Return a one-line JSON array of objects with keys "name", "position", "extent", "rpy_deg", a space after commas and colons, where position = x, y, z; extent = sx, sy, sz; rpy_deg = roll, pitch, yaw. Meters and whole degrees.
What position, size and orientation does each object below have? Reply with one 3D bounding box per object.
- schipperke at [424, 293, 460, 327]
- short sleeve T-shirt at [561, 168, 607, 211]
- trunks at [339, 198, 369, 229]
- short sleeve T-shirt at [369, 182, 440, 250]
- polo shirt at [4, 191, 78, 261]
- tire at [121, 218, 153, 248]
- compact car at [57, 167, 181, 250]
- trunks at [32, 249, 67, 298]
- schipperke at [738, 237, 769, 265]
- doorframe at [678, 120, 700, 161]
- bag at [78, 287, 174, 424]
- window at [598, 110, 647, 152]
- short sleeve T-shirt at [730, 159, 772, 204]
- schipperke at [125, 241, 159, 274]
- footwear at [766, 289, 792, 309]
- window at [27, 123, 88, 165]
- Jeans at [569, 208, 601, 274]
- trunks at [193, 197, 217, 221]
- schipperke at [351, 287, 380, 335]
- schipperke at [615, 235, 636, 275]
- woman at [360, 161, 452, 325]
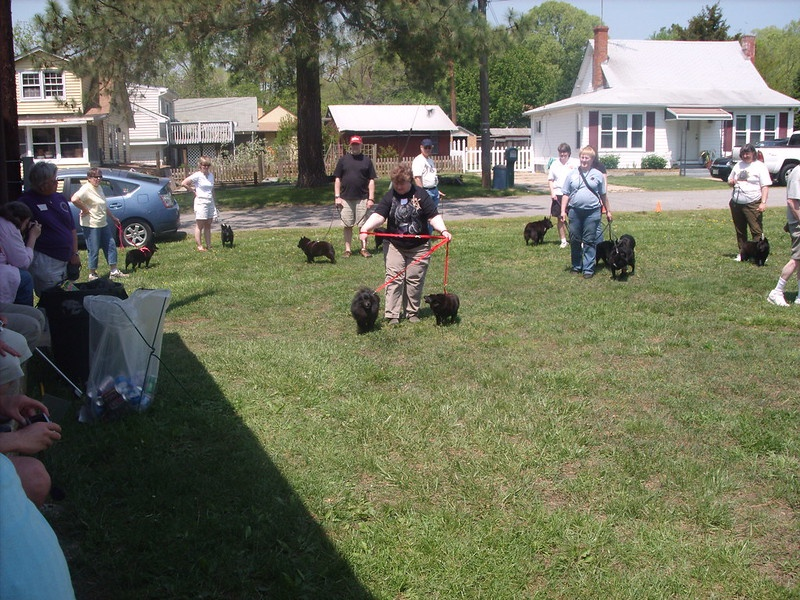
[{"name": "schipperke", "position": [0.562, 0.122, 9.719], "extent": [0.259, 0.401, 0.512], "rpy_deg": [0, 1, 44]}, {"name": "short sleeve T-shirt", "position": [2.842, -1.715, 11.947], "extent": [0.622, 0.752, 0.404], "rpy_deg": [3, -1, 18]}, {"name": "trunks", "position": [-0.862, -1.580, 14.096], "extent": [0.497, 0.808, 0.409], "rpy_deg": [1, 9, -8]}, {"name": "short sleeve T-shirt", "position": [0.102, -1.091, 9.844], "extent": [1.032, 1.266, 0.639], "rpy_deg": [-1, 8, 1]}, {"name": "polo shirt", "position": [-4.197, -0.878, 9.288], "extent": [0.426, 0.935, 0.756], "rpy_deg": [-6, 1, 40]}, {"name": "tire", "position": [-5.633, -1.419, 16.418], "extent": [0.583, 0.675, 0.210], "rpy_deg": [-13, 10, -34]}, {"name": "compact car", "position": [-6.119, -2.067, 16.915], "extent": [2.712, 1.470, 1.671], "rpy_deg": [3, 9, -16]}, {"name": "trunks", "position": [-4.053, -0.315, 8.891], "extent": [0.308, 0.625, 0.400], "rpy_deg": [6, 12, 25]}, {"name": "schipperke", "position": [5.791, -0.783, 12.603], "extent": [0.246, 0.561, 0.630], "rpy_deg": [-8, 7, -17]}, {"name": "doorframe", "position": [14.943, -8.126, 39.942], "extent": [1.470, 2.147, 0.517], "rpy_deg": [-12, 16, -40]}, {"name": "bag", "position": [-2.561, 0.443, 7.605], "extent": [0.953, 1.642, 1.026], "rpy_deg": [2, 4, -31]}, {"name": "window", "position": [11.020, -8.501, 38.691], "extent": [1.682, 1.489, 0.090], "rpy_deg": [-3, 14, -8]}, {"name": "short sleeve T-shirt", "position": [5.597, -1.899, 12.470], "extent": [0.381, 0.731, 0.667], "rpy_deg": [-1, 6, -31]}, {"name": "schipperke", "position": [-4.614, -0.773, 13.812], "extent": [0.273, 0.691, 0.771], "rpy_deg": [14, 17, 36]}, {"name": "footwear", "position": [5.078, -0.006, 10.359], "extent": [0.127, 0.169, 0.336], "rpy_deg": [-7, 16, -9]}, {"name": "window", "position": [-16.133, -7.259, 36.526], "extent": [2.734, 1.750, 0.914], "rpy_deg": [0, 13, 5]}, {"name": "Jeans", "position": [2.897, -0.969, 12.208], "extent": [0.511, 1.164, 0.391], "rpy_deg": [7, 15, 34]}, {"name": "trunks", "position": [-3.857, -1.761, 15.200], "extent": [0.340, 0.496, 0.541], "rpy_deg": [-2, -2, -12]}, {"name": "schipperke", "position": [-0.436, 0.168, 9.514], "extent": [0.327, 0.537, 0.470], "rpy_deg": [-2, 13, -4]}, {"name": "schipperke", "position": [3.545, -0.668, 12.163], "extent": [0.296, 0.662, 1.001], "rpy_deg": [3, 15, 16]}, {"name": "woman", "position": [-0.023, -0.655, 9.733], "extent": [0.975, 2.048, 0.626], "rpy_deg": [-4, 23, -10]}]
